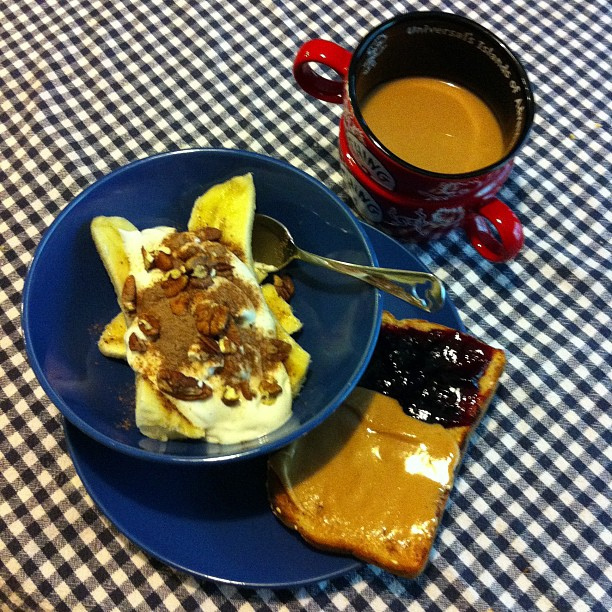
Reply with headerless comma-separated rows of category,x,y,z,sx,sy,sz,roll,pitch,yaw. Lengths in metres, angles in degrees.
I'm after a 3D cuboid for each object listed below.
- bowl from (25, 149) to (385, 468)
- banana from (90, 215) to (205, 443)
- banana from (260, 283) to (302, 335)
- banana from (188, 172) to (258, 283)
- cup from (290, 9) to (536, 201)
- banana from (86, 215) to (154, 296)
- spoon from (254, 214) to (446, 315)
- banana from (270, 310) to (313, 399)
bowl,-0.145,0.021,1.036,0.238,0.578,0.513,9,113,9
banana,-0.209,0.027,0.792,0.079,0.055,0.307,-19,74,-7
banana,-0.039,0.005,0.856,0.049,0.010,0.080,-48,120,-43
banana,-0.091,-0.099,0.842,0.111,0.030,0.133,-24,84,8
cup,0.164,-0.251,0.815,0.240,0.107,0.236,1,73,-2
banana,-0.233,-0.062,0.825,0.069,0.032,0.114,-29,96,-8
spoon,-0.029,-0.082,0.929,0.073,0.494,0.079,-10,112,-46
banana,-0.012,0.063,0.821,0.040,0.047,0.112,-14,74,-5
